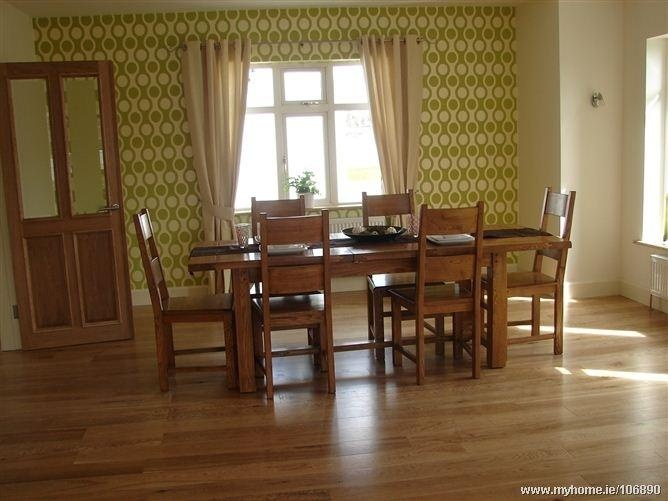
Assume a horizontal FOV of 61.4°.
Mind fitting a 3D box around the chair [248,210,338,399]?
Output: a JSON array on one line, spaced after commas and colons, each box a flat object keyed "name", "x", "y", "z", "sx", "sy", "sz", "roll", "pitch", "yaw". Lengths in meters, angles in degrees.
[{"name": "chair", "x": -0.305, "y": 0.350, "z": 4.004, "sx": 0.591, "sy": 1.265, "sz": 0.694, "roll": -6, "pitch": 9, "yaw": -10}]

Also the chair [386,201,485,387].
[{"name": "chair", "x": 0.736, "y": 0.275, "z": 4.117, "sx": 0.686, "sy": 1.251, "sz": 0.653, "roll": -3, "pitch": 9, "yaw": 9}]
